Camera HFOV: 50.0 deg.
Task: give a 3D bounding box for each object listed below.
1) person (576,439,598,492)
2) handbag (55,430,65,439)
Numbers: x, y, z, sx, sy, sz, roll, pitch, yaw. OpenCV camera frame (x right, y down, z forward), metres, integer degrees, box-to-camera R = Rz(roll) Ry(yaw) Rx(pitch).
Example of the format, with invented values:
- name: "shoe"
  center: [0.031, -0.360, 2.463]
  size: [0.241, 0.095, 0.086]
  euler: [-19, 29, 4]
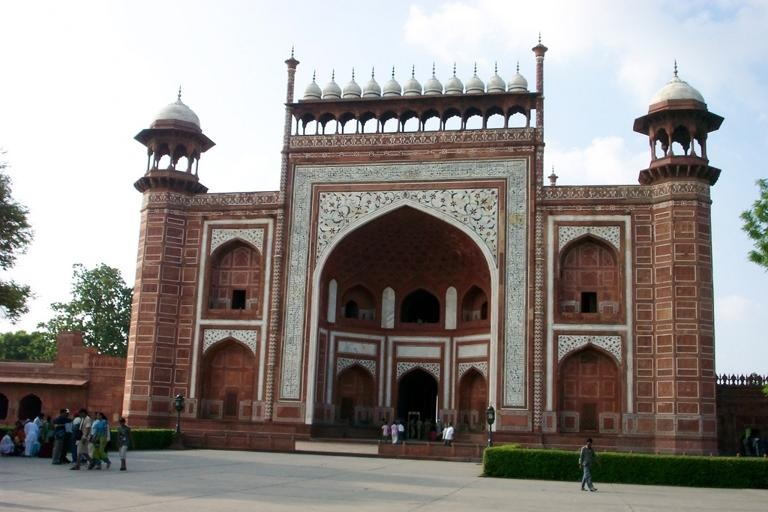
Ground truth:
- name: "person"
  center: [4.284, 4.407, 17.382]
  size: [0.338, 1.067, 1.499]
  euler: [-2, -15, 13]
- name: "handbag"
  center: [-6.871, 3.813, 17.537]
  size: [0.174, 0.160, 0.051]
  euler: [-1, -5, -1]
